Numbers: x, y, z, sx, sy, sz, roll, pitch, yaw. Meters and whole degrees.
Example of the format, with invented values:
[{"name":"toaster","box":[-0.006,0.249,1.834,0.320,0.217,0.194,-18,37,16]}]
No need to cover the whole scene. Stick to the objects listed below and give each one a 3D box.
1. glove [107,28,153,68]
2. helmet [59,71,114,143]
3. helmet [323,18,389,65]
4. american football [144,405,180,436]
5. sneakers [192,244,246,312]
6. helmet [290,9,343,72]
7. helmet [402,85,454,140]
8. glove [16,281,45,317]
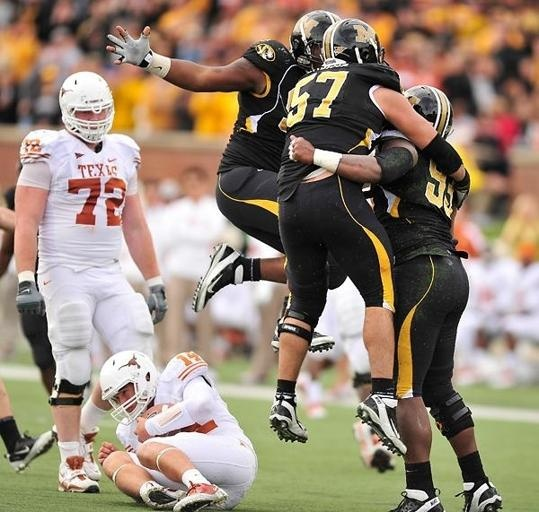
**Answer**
[{"name":"glove","box":[-0.749,-1.134,4.138,0.232,0.214,0.381,5,0,-12]},{"name":"helmet","box":[-1.010,-0.844,4.270,0.284,0.293,0.369,-14,30,-30]},{"name":"helmet","box":[0.412,-1.008,3.823,0.332,0.268,0.231,-2,15,-36]},{"name":"american football","box":[-0.493,0.763,3.575,0.135,0.094,0.131,-28,-12,7]},{"name":"sneakers","box":[-0.306,0.117,4.516,0.287,0.386,0.208,5,1,-23]},{"name":"helmet","box":[0.247,-1.167,4.228,0.248,0.260,0.320,-11,24,-41]},{"name":"helmet","box":[0.803,-0.734,3.920,0.248,0.280,0.309,6,1,10]},{"name":"glove","box":[-1.233,0.212,3.973,0.126,0.069,0.195,12,20,-24]}]
